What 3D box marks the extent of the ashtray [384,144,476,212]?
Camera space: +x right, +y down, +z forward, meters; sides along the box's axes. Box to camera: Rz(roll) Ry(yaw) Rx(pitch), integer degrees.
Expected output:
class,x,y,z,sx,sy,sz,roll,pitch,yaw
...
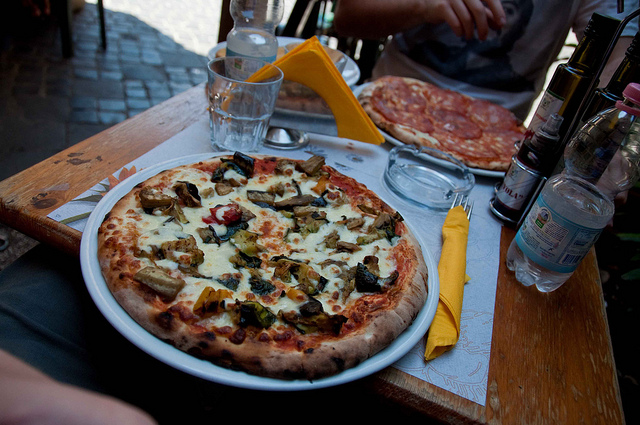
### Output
class,x,y,z,sx,sy,sz,roll,pitch,yaw
ashtray,0.389,-0.156,1.901,0.361,0.247,0.449,14,21,25

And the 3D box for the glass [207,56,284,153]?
class,x,y,z,sx,sy,sz,roll,pitch,yaw
glass,-0.273,-0.391,1.832,0.250,0.355,0.305,-21,33,-39

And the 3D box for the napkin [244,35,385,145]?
class,x,y,z,sx,sy,sz,roll,pitch,yaw
napkin,0.024,-0.469,1.831,0.629,0.382,0.342,5,25,9

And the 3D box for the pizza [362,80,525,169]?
class,x,y,z,sx,sy,sz,roll,pitch,yaw
pizza,0.590,-0.341,2.408,0.684,0.075,0.540,1,35,-24

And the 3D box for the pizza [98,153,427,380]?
class,x,y,z,sx,sy,sz,roll,pitch,yaw
pizza,-0.138,0.105,1.479,0.939,0.151,0.786,18,52,8
